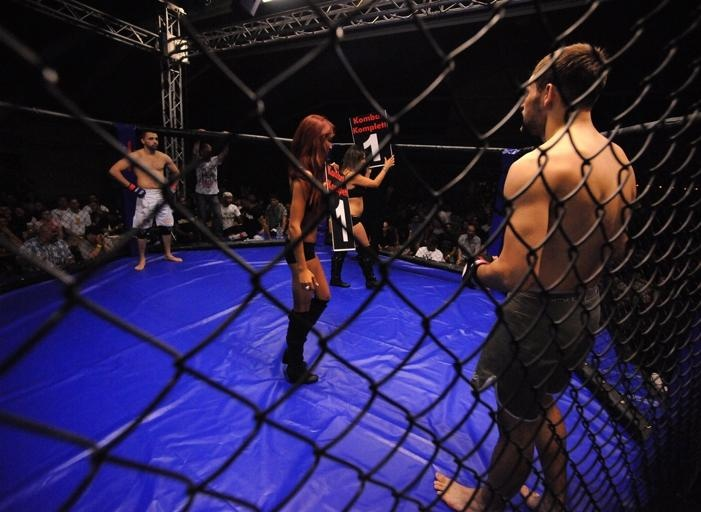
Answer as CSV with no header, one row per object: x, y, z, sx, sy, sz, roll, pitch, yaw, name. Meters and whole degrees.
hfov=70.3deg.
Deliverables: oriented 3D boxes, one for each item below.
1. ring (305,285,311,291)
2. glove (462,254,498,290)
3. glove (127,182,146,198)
-0.358,0.264,4.167,0.043,0.039,0.064,-6,23,0,ring
0.746,0.090,2.960,0.197,0.128,0.298,36,22,4,glove
-2.797,-0.851,6.461,0.089,0.157,0.206,19,3,23,glove
